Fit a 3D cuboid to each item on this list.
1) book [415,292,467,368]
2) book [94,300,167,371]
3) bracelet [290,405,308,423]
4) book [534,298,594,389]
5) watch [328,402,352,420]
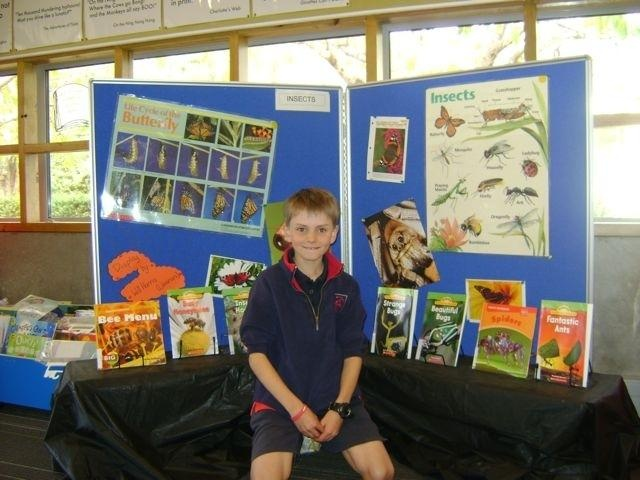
[{"bbox_3d":[0.587,0.432,2.565,0.230,0.333,0.122,2,3,16],"label":"book"},{"bbox_3d":[-0.917,0.469,2.548,0.293,0.285,0.043,-4,-12,-13],"label":"book"},{"bbox_3d":[-0.081,0.708,2.141,0.061,0.015,0.056,-37,0,1],"label":"bracelet"},{"bbox_3d":[1.076,0.453,2.323,0.203,0.352,0.076,3,3,33],"label":"book"},{"bbox_3d":[0.094,0.701,2.213,0.083,0.057,0.085,3,-20,27],"label":"watch"}]
